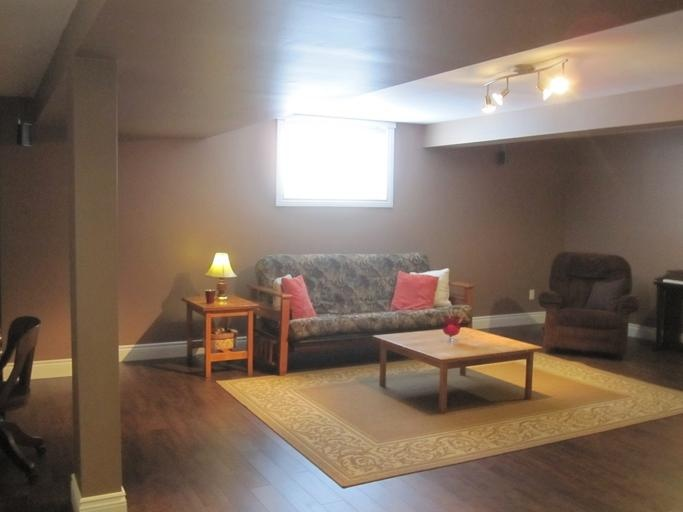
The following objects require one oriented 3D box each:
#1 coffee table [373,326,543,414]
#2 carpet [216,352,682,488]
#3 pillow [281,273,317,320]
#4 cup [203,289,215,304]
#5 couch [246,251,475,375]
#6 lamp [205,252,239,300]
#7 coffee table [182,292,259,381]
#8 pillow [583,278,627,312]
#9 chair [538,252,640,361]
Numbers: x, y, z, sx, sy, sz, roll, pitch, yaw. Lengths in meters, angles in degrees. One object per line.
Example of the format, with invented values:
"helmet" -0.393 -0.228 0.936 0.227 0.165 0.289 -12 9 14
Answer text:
"coffee table" 1.097 0.899 4.887 0.850 0.369 0.852 3 1 -26
"carpet" 0.926 1.277 4.947 3.685 0.059 2.212 -2 7 -23
"pillow" -0.472 0.446 5.902 0.121 0.419 0.403 -20 -20 36
"cup" -1.372 0.421 5.678 0.116 0.129 0.121 0 -4 0
"couch" 0.221 0.601 6.344 2.381 1.226 1.151 0 0 -25
"lamp" -1.305 0.219 6.070 0.446 0.710 0.470 -1 2 -14
"coffee table" -1.328 0.830 5.861 0.560 0.751 0.842 -1 4 -32
"pillow" 3.179 0.473 6.638 0.109 0.369 0.363 18 -12 -29
"chair" 2.981 0.575 6.671 1.089 1.263 1.039 1 -1 43
